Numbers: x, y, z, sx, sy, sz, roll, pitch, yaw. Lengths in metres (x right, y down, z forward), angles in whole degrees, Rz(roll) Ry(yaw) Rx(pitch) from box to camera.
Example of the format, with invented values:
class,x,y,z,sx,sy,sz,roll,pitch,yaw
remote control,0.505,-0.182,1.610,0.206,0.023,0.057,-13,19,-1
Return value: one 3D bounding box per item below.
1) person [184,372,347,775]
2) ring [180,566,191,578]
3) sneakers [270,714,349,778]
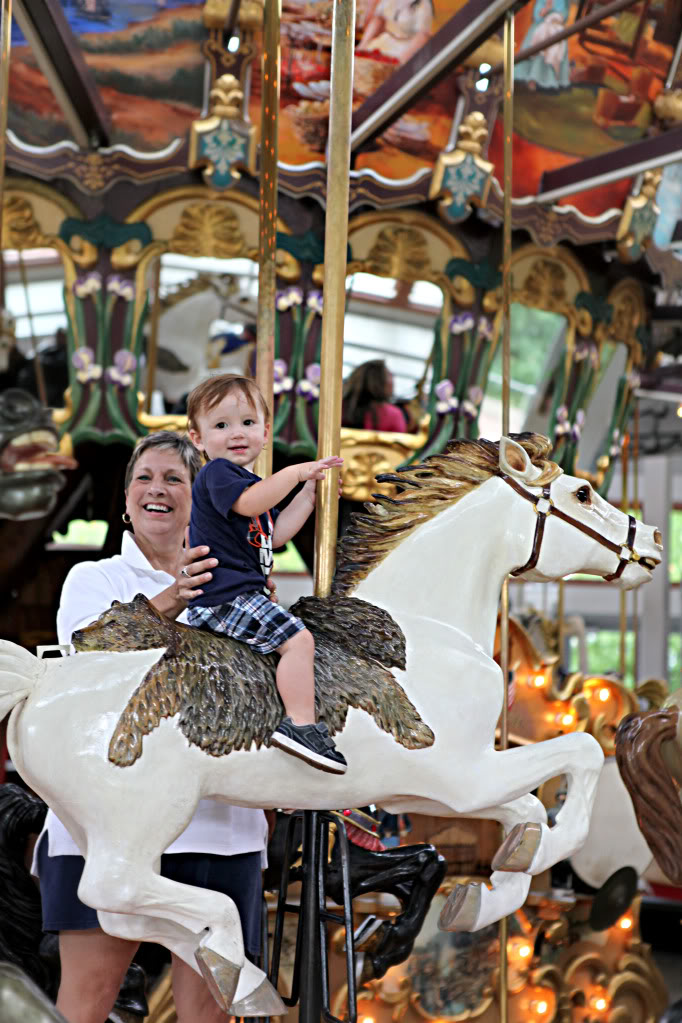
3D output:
class,x,y,z,sx,sy,sz,roll,pitch,yaw
person,-0.159,0.091,2.335,0.341,0.691,0.751,3,15,-8
ring,-0.310,0.119,2.265,0.016,0.022,0.036,2,15,-14
sneakers,-0.058,0.436,2.090,0.176,0.078,0.063,29,-6,-4
